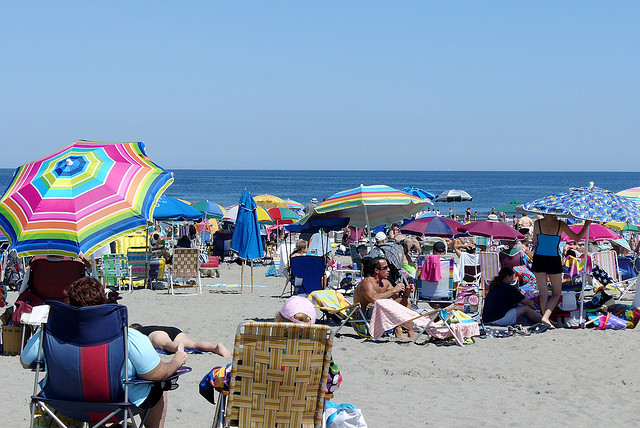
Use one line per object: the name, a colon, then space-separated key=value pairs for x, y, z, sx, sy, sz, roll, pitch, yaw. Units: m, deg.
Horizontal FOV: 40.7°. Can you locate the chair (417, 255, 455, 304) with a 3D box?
chair: x=1.667 y=0.984 z=13.128 sx=0.758 sy=0.721 sz=1.109 roll=2 pitch=0 yaw=-1

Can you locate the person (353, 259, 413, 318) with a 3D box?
person: x=0.857 y=1.212 z=11.870 sx=0.831 sy=1.201 sz=0.625 roll=3 pitch=3 yaw=14

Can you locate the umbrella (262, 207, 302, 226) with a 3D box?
umbrella: x=-0.956 y=0.040 z=23.576 sx=0.626 sy=0.588 sz=0.661 roll=3 pitch=9 yaw=17

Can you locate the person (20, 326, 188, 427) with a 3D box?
person: x=-1.947 y=1.509 z=8.049 sx=1.390 sy=1.414 sz=0.975 roll=1 pitch=0 yaw=0

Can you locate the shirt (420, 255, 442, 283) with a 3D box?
shirt: x=1.660 y=0.819 z=12.853 sx=0.327 sy=0.408 sz=0.084 roll=2 pitch=7 yaw=11

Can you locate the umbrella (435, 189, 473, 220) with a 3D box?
umbrella: x=5.844 y=-0.432 z=37.098 sx=1.421 sy=1.375 sz=1.405 roll=-9 pitch=10 yaw=-34

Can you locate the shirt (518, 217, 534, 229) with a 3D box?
shirt: x=5.058 y=0.221 z=21.176 sx=0.294 sy=0.292 sz=0.178 roll=0 pitch=-36 yaw=9

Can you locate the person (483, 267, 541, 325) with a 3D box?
person: x=2.915 y=1.278 z=12.887 sx=1.011 sy=0.984 sz=0.735 roll=5 pitch=-10 yaw=-8

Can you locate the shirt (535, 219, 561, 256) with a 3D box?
shirt: x=3.336 y=0.338 z=12.544 sx=0.381 sy=0.546 sz=0.281 roll=5 pitch=3 yaw=12

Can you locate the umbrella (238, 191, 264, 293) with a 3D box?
umbrella: x=-1.293 y=0.538 z=16.199 sx=0.485 sy=1.869 sz=1.042 roll=0 pitch=7 yaw=-5

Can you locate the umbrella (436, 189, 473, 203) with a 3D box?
umbrella: x=5.720 y=-0.748 z=36.527 sx=1.453 sy=0.608 sz=1.506 roll=1 pitch=-2 yaw=-10

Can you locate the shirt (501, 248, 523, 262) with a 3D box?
shirt: x=3.343 y=0.665 z=14.961 sx=0.335 sy=0.141 sz=0.612 roll=2 pitch=7 yaw=11

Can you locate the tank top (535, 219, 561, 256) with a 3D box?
tank top: x=3.326 y=0.348 z=12.583 sx=0.385 sy=0.565 sz=0.298 roll=3 pitch=-14 yaw=18

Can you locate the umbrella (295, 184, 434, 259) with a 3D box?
umbrella: x=0.862 y=0.309 z=13.678 sx=1.426 sy=1.012 sz=1.490 roll=-10 pitch=5 yaw=-8

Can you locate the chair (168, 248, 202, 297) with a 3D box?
chair: x=-2.556 y=0.986 z=16.224 sx=0.520 sy=0.946 sz=0.809 roll=3 pitch=20 yaw=-17

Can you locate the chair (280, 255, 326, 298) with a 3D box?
chair: x=-0.234 y=0.938 z=13.647 sx=0.482 sy=0.828 sz=0.593 roll=2 pitch=2 yaw=-8

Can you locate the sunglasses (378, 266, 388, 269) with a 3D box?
sunglasses: x=0.890 y=0.727 z=11.855 sx=0.141 sy=0.033 sz=0.054 roll=-4 pitch=8 yaw=-36

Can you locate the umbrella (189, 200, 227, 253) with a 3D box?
umbrella: x=-3.167 y=0.087 z=24.321 sx=0.835 sy=1.032 sz=0.845 roll=3 pitch=-2 yaw=0

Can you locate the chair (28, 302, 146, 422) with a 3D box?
chair: x=-2.116 y=1.320 z=7.976 sx=0.985 sy=1.326 sz=1.037 roll=1 pitch=-4 yaw=-1

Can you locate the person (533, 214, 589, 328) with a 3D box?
person: x=3.456 y=0.790 z=12.614 sx=0.701 sy=1.638 sz=0.637 roll=-1 pitch=7 yaw=-19

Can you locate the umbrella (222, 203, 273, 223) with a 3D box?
umbrella: x=-1.793 y=0.018 z=21.771 sx=0.818 sy=0.330 sz=0.838 roll=-1 pitch=1 yaw=13
